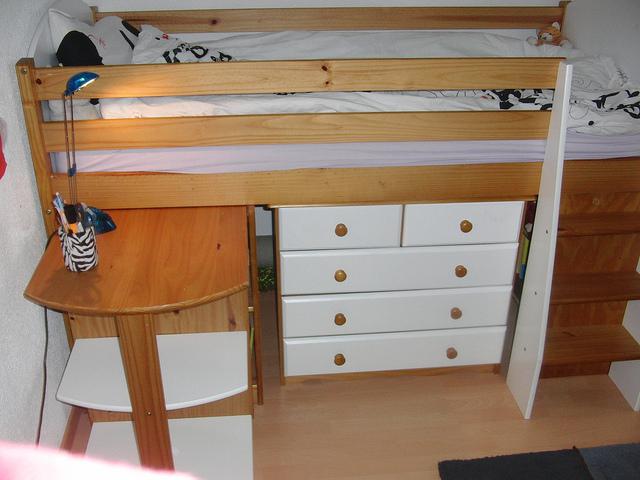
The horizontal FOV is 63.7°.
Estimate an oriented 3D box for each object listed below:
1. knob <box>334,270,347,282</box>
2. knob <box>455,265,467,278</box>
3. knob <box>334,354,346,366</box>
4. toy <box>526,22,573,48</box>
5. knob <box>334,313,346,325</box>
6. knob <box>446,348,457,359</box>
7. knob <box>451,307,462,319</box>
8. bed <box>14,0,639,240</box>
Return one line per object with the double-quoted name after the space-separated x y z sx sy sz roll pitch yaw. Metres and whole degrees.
0.097 0.165 2.378 0.057 0.056 0.026 -2 29 -3 "knob"
0.665 0.149 2.440 0.055 0.063 0.024 2 29 5 "knob"
0.095 0.587 2.524 0.050 0.050 0.025 -3 29 -5 "knob"
1.393 -1.247 3.123 0.311 0.115 0.188 4 -3 9 "toy"
0.095 0.377 2.453 0.055 0.056 0.027 -3 29 -4 "knob"
0.655 0.566 2.576 0.047 0.043 0.033 24 17 -2 "knob"
0.660 0.355 2.493 0.057 0.050 0.037 4 38 6 "knob"
-0.062 -0.613 2.856 3.168 1.120 1.326 -2 53 -4 "bed"
